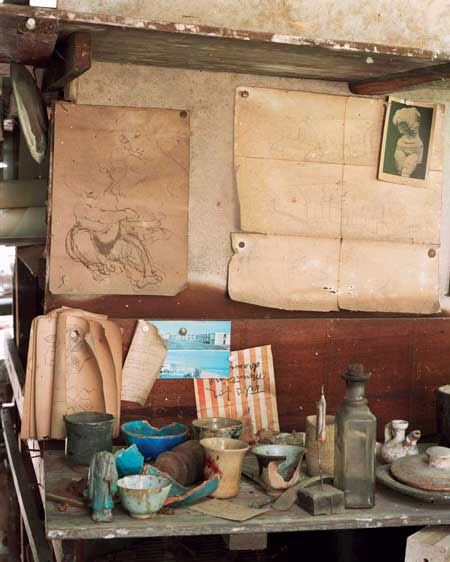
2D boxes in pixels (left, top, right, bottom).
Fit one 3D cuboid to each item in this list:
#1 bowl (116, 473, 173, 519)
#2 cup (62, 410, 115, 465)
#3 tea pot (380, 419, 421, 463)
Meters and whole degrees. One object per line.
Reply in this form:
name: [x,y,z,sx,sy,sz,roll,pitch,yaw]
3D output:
bowl: [-0.200,0.532,1.705,0.131,0.078,0.132,0,0,0]
cup: [-0.353,0.443,1.979,0.164,0.116,0.148,-1,2,-42]
tea pot: [0.521,0.486,2.090,0.147,0.134,0.114,-1,-9,28]
